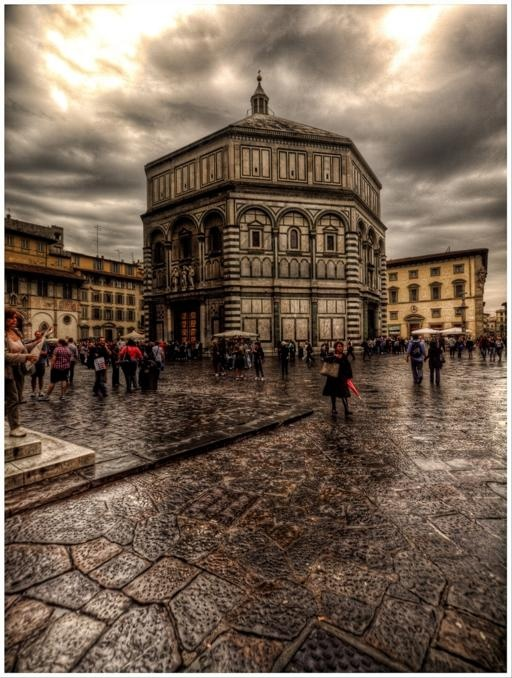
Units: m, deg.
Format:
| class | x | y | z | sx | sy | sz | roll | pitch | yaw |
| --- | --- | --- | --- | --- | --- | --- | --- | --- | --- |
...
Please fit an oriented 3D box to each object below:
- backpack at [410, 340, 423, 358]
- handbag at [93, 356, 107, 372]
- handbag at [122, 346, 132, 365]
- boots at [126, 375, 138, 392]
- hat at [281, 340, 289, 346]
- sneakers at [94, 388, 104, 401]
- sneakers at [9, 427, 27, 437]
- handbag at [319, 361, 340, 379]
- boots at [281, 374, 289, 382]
| class | x | y | z | sx | sy | sz | roll | pitch | yaw |
| --- | --- | --- | --- | --- | --- | --- | --- | --- | --- |
| backpack | 3.921 | 0.236 | 12.972 | 0.342 | 0.537 | 0.267 | 0 | -14 | 11 |
| handbag | -3.228 | 0.515 | 10.874 | 0.188 | 0.278 | 0.220 | -3 | 9 | -13 |
| handbag | -3.115 | 0.349 | 12.678 | 0.190 | 0.368 | 0.324 | -3 | 9 | -14 |
| boots | -3.027 | 1.068 | 12.805 | 0.160 | 0.373 | 0.518 | -2 | -27 | -10 |
| hat | 1.136 | 0.138 | 21.052 | 0.180 | 0.197 | 0.652 | -5 | -8 | -9 |
| sneakers | -3.226 | 1.117 | 10.828 | 0.080 | 0.250 | 0.243 | 5 | -18 | -43 |
| sneakers | -2.387 | 0.919 | 5.266 | 0.185 | 0.093 | 0.066 | 0 | -1 | 13 |
| handbag | 1.145 | 0.466 | 8.221 | 0.254 | 0.245 | 0.256 | 0 | 8 | 8 |
| boots | 0.819 | 1.097 | 15.157 | 0.153 | 0.093 | 0.158 | -5 | 12 | -5 |
